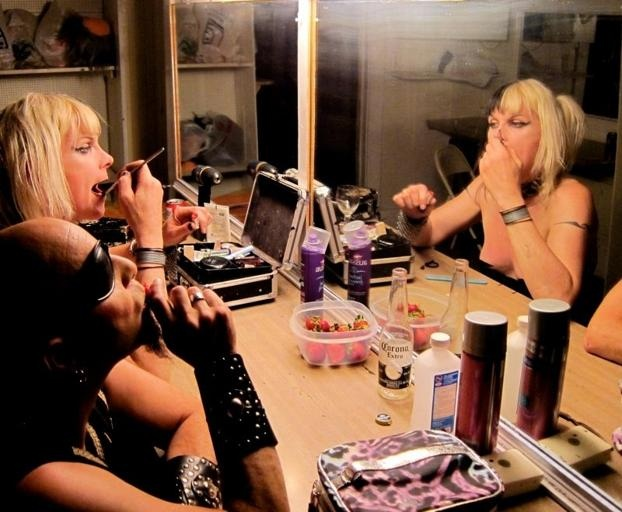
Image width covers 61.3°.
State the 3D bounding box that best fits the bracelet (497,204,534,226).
[{"bbox_3d":[0.451,-0.088,1.145,0.041,0.030,0.041,-27,1,-23],"label":"bracelet"}]

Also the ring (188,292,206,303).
[{"bbox_3d":[-0.177,0.063,0.814,0.020,0.019,0.018,-12,-28,-12],"label":"ring"}]

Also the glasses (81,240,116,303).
[{"bbox_3d":[-0.268,0.016,0.666,0.031,0.064,0.087,-5,21,-9],"label":"glasses"}]

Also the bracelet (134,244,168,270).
[{"bbox_3d":[-0.494,0.005,1.607,0.066,0.048,0.073,0,5,19],"label":"bracelet"}]

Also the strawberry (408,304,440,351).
[{"bbox_3d":[0.287,0.186,1.367,0.089,0.074,0.099,-1,6,-1],"label":"strawberry"}]

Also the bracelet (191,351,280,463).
[{"bbox_3d":[-0.118,0.225,0.786,0.113,0.161,0.054,-19,-7,-12],"label":"bracelet"}]

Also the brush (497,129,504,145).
[{"bbox_3d":[0.420,-0.262,1.157,0.010,0.024,0.024,-8,3,21],"label":"brush"}]

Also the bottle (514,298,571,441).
[{"bbox_3d":[0.456,0.221,1.024,0.079,0.275,0.075,-1,21,1],"label":"bottle"}]

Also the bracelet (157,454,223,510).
[{"bbox_3d":[-0.189,0.358,0.837,0.074,0.053,0.071,10,-24,-21],"label":"bracelet"}]

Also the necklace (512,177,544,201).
[{"bbox_3d":[0.463,-0.141,1.107,0.015,0.054,0.056,6,-8,-28],"label":"necklace"}]

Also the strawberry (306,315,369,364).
[{"bbox_3d":[0.068,0.211,1.416,0.121,0.052,0.145,-1,5,-5],"label":"strawberry"}]
